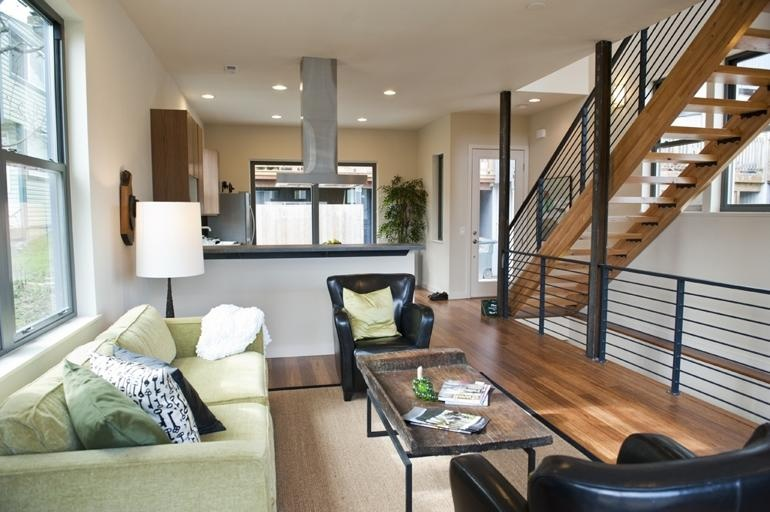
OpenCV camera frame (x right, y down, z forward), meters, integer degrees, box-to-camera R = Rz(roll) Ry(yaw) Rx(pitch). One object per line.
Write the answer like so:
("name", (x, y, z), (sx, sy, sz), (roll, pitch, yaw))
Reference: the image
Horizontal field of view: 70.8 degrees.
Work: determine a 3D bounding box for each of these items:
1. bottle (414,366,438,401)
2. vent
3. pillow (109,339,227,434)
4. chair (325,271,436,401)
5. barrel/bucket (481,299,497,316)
("bottle", (0.255, 0.853, 3.638), (0.151, 0.087, 0.206), (-14, 20, -38))
("vent", (-0.878, -1.745, 7.026), (1.192, 1.595, 1.178), (-2, 16, -9))
("pillow", (-1.225, 0.772, 3.193), (0.165, 0.556, 0.535), (-28, -17, -13))
("chair", (-0.020, 0.708, 5.206), (1.031, 1.184, 1.089), (0, -5, -13))
("barrel/bucket", (1.444, 0.710, 7.507), (0.193, 0.212, 0.264), (1, 6, -2))
